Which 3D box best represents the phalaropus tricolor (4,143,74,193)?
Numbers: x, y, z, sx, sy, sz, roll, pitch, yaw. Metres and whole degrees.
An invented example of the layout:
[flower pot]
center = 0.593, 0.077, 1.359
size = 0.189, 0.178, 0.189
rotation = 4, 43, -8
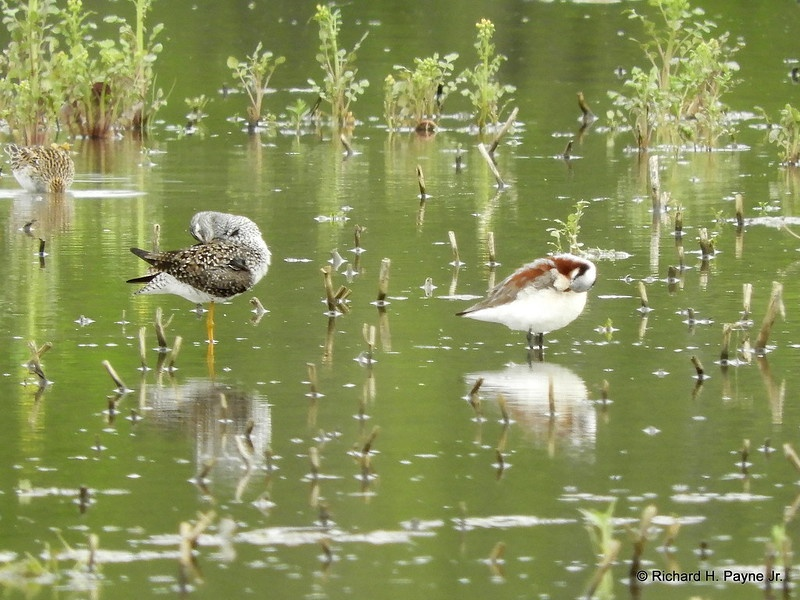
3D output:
[phalaropus tricolor]
center = -6.208, -2.446, 17.164
size = 0.691, 0.762, 1.400
rotation = -15, 47, -43
